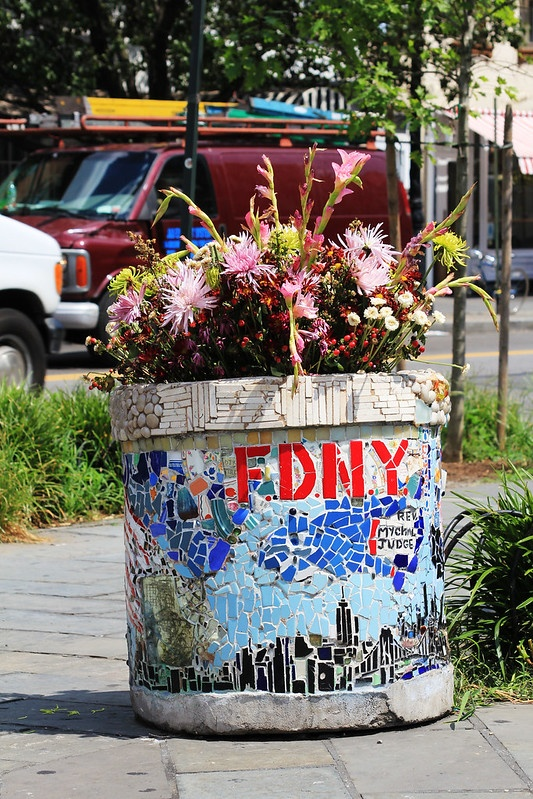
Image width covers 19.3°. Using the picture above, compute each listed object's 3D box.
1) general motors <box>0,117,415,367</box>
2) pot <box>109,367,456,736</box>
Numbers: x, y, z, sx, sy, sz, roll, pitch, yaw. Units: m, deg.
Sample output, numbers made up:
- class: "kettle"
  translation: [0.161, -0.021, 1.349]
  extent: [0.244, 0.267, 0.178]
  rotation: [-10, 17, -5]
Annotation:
- class: "general motors"
  translation: [-0.743, -2.272, 18.321]
  extent: [5.278, 2.598, 2.702]
  rotation: [-1, 2, -41]
- class: "pot"
  translation: [0.065, 0.446, 4.904]
  extent: [0.976, 1.047, 0.971]
  rotation: [-3, 2, 0]
